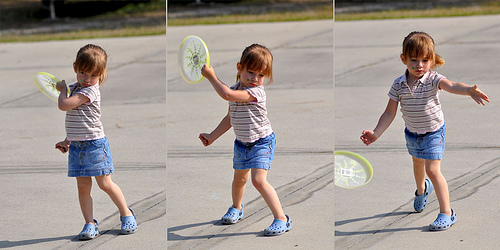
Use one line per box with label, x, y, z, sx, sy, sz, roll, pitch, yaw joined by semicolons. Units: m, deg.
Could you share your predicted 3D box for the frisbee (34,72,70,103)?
frisbee;-3.832;-0.758;11.751;0.702;0.651;0.109;25;69;35
